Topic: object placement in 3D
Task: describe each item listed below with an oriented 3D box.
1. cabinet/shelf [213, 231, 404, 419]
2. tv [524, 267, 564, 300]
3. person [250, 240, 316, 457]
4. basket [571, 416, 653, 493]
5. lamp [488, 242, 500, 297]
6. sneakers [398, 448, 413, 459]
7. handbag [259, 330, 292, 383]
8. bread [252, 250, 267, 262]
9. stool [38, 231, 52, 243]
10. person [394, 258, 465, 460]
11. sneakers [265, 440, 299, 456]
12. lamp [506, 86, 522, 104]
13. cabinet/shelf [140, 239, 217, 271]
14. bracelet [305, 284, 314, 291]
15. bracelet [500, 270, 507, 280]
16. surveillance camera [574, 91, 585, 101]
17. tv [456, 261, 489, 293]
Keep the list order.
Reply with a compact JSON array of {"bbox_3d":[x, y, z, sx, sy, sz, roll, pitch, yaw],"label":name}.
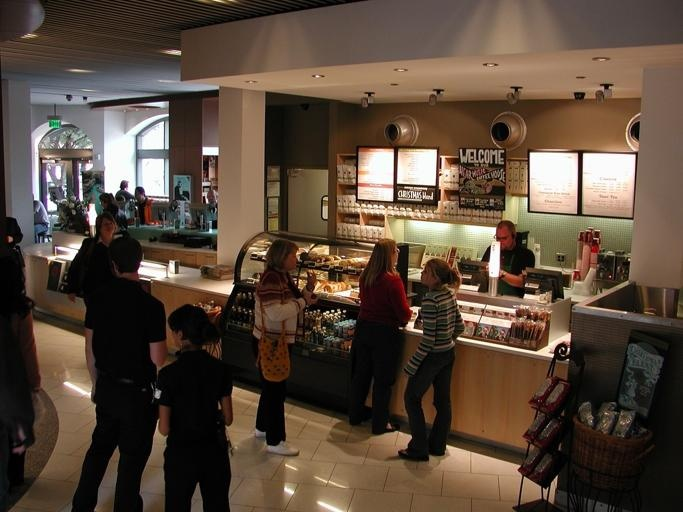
[{"bbox_3d":[-0.379,0.705,6.205,2.160,1.961,1.010,6,2,34],"label":"cabinet/shelf"},{"bbox_3d":[2.178,0.311,5.573,0.189,0.322,0.385,-11,15,-39],"label":"tv"},{"bbox_3d":[-0.548,0.853,4.733,0.584,2.011,0.515,0,9,-6],"label":"person"},{"bbox_3d":[1.801,1.352,3.454,0.449,0.365,0.472,2,7,6],"label":"basket"},{"bbox_3d":[1.621,0.142,5.416,0.095,0.593,0.177,3,9,13],"label":"lamp"},{"bbox_3d":[0.583,1.862,4.759,0.049,0.052,0.142,1,10,-9],"label":"sneakers"},{"bbox_3d":[-0.633,0.924,4.608,0.178,0.373,0.258,21,9,16],"label":"handbag"},{"bbox_3d":[-1.031,0.001,6.176,0.191,0.080,0.194,9,21,19],"label":"bread"},{"bbox_3d":[-8.548,-0.558,14.546,0.291,0.415,0.319,6,12,31],"label":"stool"},{"bbox_3d":[0.817,0.968,4.680,0.522,1.884,0.253,-4,10,-29],"label":"person"},{"bbox_3d":[-0.571,1.816,4.821,0.309,0.133,0.117,2,5,0],"label":"sneakers"},{"bbox_3d":[2.233,-2.087,6.560,0.187,0.195,0.582,4,10,18],"label":"lamp"},{"bbox_3d":[-2.888,-0.010,9.047,1.626,0.395,0.386,7,-11,27],"label":"cabinet/shelf"},{"bbox_3d":[-0.316,0.313,4.895,0.062,0.049,0.064,4,14,6],"label":"bracelet"},{"bbox_3d":[1.920,0.219,6.075,0.095,0.108,0.104,3,9,-19],"label":"bracelet"},{"bbox_3d":[3.282,-2.222,7.016,0.149,0.096,0.205,1,2,12],"label":"surveillance camera"},{"bbox_3d":[1.880,0.254,7.268,0.393,0.401,0.295,4,10,41],"label":"tv"}]
